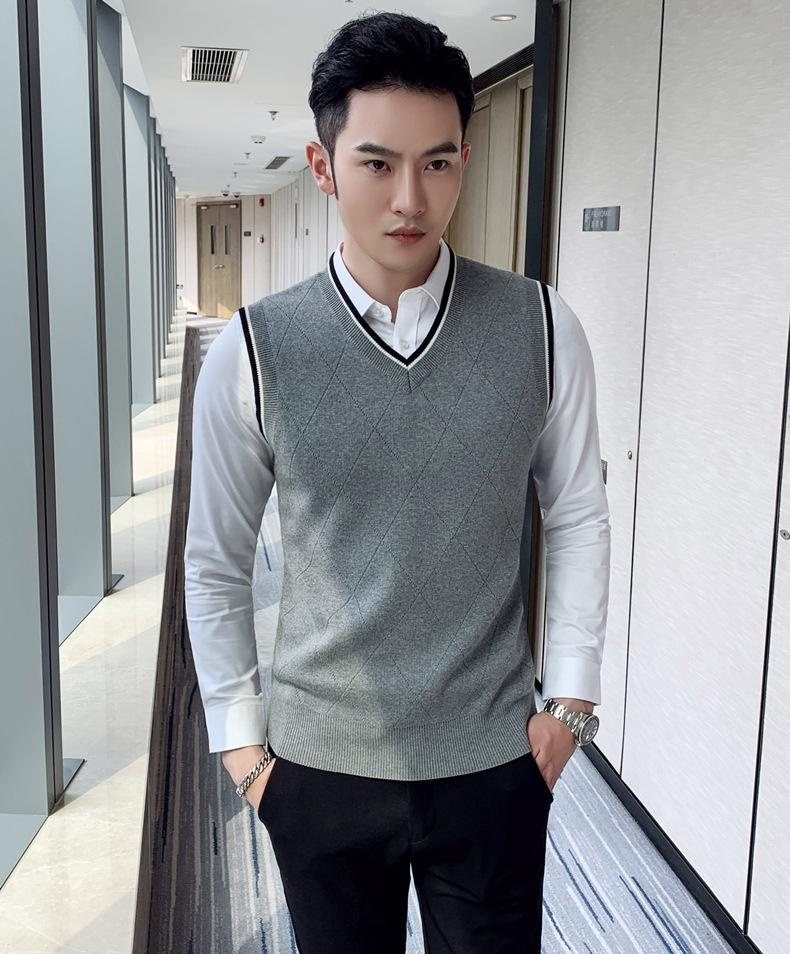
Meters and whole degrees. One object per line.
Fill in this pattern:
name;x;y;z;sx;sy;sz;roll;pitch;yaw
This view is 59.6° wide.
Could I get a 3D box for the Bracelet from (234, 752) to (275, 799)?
Bracelet;-0.156;0.328;0.760;0.017;0.054;0.043;44;0;8
